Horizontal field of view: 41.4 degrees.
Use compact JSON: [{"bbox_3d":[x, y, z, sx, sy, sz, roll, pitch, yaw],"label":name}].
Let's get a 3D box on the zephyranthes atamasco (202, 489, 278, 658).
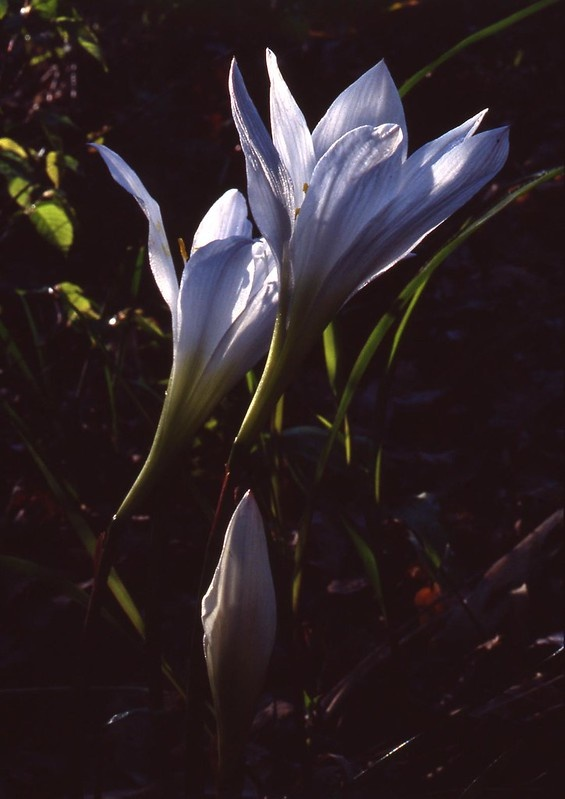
[{"bbox_3d":[-0.017,0.068,0.283,0.029,0.054,0.042,4,-27,6],"label":"zephyranthes atamasco"}]
